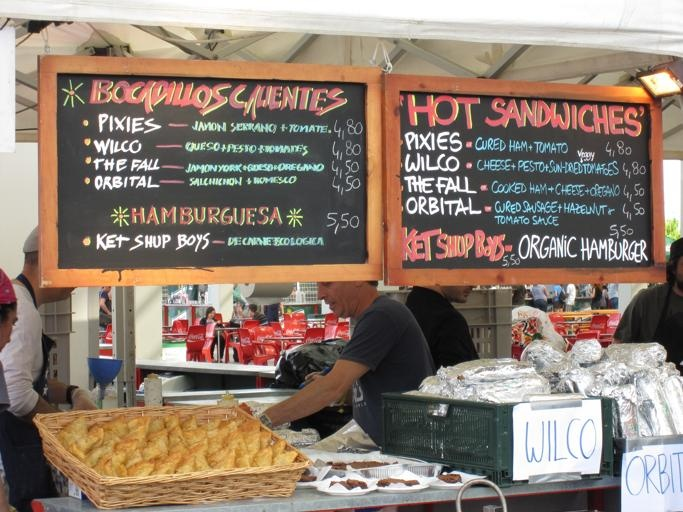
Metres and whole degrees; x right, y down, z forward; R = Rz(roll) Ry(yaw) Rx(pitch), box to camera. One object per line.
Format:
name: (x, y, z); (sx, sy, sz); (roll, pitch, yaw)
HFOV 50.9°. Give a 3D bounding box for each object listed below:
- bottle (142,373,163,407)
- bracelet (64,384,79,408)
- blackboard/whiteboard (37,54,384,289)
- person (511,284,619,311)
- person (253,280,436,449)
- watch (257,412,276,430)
bottle: (-1.235, 0.864, 4.681); (0.111, 0.197, 0.445); (-1, -7, -16)
bracelet: (-1.563, 0.786, 4.130); (0.057, 0.138, 0.148); (0, -35, -4)
blackboard/whiteboard: (-0.612, -0.361, 3.138); (1.126, 0.671, 0.051); (0, -6, -15)
person: (5.695, 1.020, 18.027); (1.601, 0.350, 1.132); (1, 1, 29)
person: (-0.016, 0.712, 4.241); (0.966, 1.490, 0.707); (-7, -25, 0)
watch: (-0.345, 0.754, 3.332); (0.059, 0.080, 0.080); (-41, -9, -15)
